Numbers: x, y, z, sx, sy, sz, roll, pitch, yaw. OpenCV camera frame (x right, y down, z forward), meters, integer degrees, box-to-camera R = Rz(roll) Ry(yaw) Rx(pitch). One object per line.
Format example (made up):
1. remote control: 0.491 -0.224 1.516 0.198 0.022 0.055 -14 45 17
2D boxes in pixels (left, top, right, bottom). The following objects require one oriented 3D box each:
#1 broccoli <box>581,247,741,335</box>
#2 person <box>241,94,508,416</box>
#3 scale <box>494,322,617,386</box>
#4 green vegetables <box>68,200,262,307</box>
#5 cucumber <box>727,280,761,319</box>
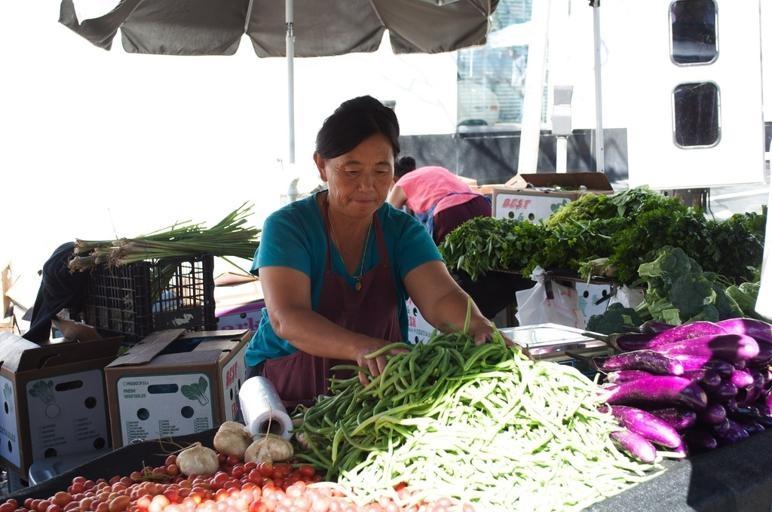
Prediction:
1. broccoli: 1.605 0.186 3.289 0.381 0.392 0.251 18 -35 4
2. person: -0.089 0.114 2.884 1.062 1.602 1.625 0 17 -17
3. scale: 0.820 0.416 2.785 0.460 0.217 0.502 -3 8 -22
4. green vegetables: -1.611 -0.059 4.541 0.659 0.365 1.156 -1 7 33
5. cucumber: 1.968 0.243 3.172 0.145 0.188 0.522 -5 0 33
